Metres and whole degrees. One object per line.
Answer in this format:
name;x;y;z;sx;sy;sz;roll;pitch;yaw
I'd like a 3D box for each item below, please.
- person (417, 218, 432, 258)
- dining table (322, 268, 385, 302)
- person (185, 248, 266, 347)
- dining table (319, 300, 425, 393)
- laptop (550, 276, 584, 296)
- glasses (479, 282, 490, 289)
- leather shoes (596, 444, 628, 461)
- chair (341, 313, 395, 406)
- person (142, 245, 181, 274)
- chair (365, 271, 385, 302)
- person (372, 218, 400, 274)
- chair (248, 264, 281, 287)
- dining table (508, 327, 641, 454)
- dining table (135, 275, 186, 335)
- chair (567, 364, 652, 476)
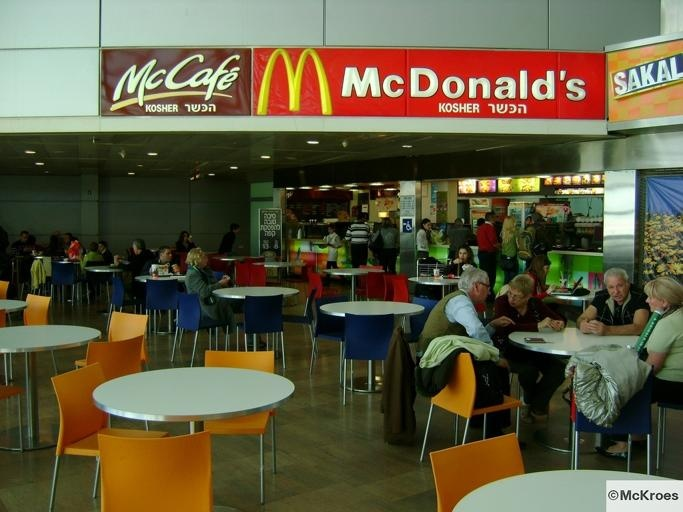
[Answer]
person;1.722;-0.354;13.726;0.347;0.799;0.264;-1;3;-14
dining table;0.211;0.329;11.038;0.837;0.553;0.812;-1;2;-1
person;-1.723;0.557;8.858;0.792;1.280;0.567;-8;8;-25
dining table;0.300;0.900;7.282;1.040;0.723;1.009;-1;1;0
laptop;2.918;0.436;8.589;0.388;0.162;0.498;2;1;16
glasses;1.300;0.263;6.047;0.105;0.030;0.103;3;-3;39
leather shoes;2.357;1.714;5.812;0.328;0.122;0.120;4;-5;23
chair;0.263;1.046;7.089;0.526;0.974;1.143;0;3;-1
person;-3.176;0.077;11.678;0.566;0.725;0.410;-1;1;-42
chair;0.477;0.461;10.776;0.347;0.566;0.423;-1;7;-8
person;0.964;-0.218;14.281;0.540;1.188;0.434;3;4;43
chair;-1.400;0.360;11.974;0.418;0.689;0.500;3;6;17
dining table;1.961;1.069;5.723;1.098;0.762;1.067;0;1;1
dining table;-2.605;0.687;9.483;0.910;1.061;0.790;1;6;-7
chair;2.110;1.324;5.192;0.567;0.921;0.980;1;3;22
